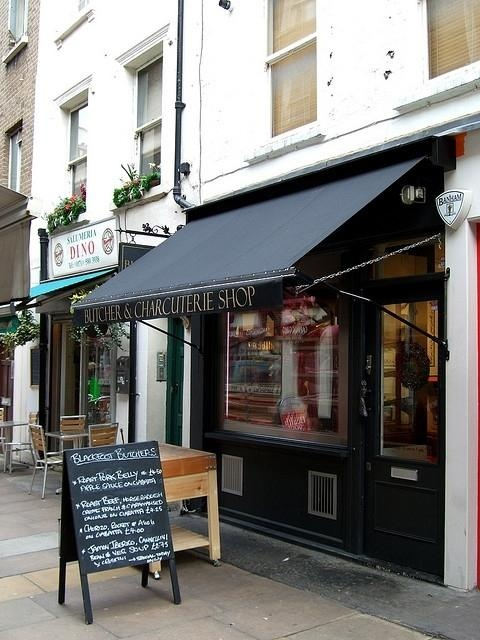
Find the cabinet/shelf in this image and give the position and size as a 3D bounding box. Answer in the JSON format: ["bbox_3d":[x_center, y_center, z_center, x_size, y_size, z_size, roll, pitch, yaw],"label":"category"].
[{"bbox_3d":[-0.639,1.596,5.452,0.792,0.859,0.658,-1,-5,-31],"label":"cabinet/shelf"}]

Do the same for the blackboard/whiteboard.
[{"bbox_3d":[-0.844,1.194,4.547,0.658,0.891,0.519,-6,31,-14],"label":"blackboard/whiteboard"}]
